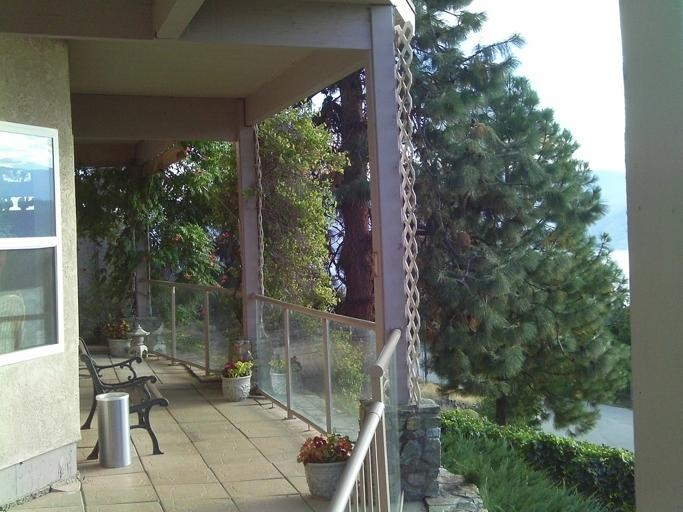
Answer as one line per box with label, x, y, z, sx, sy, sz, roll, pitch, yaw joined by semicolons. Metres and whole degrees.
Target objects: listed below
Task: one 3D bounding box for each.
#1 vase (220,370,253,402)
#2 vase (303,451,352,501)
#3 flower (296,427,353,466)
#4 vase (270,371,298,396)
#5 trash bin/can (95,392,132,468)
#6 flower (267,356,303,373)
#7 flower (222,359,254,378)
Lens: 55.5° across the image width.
vase;-1.153;1.422;7.076;0.245;0.212;0.273;0;-2;-8
vase;-0.074;1.616;4.627;0.358;0.313;0.399;12;-26;-3
flower;-0.128;1.420;4.704;0.328;0.219;0.397;6;-26;-10
vase;-0.582;1.300;6.654;0.286;0.247;0.316;0;-8;3
trash bin/can;-1.791;1.370;5.118;0.263;0.584;0.336;1;-2;-19
flower;-0.545;1.128;6.441;0.280;0.175;0.261;-5;10;-4
flower;-1.118;1.252;7.159;0.198;0.129;0.209;-4;-10;27
